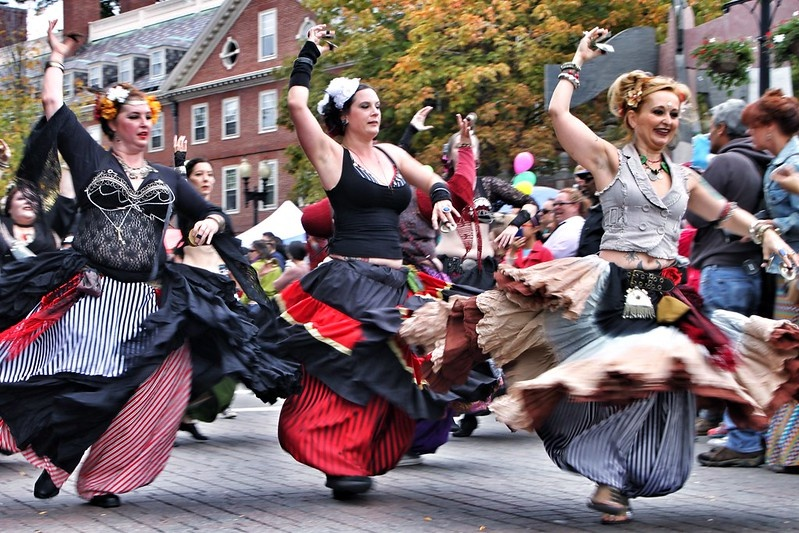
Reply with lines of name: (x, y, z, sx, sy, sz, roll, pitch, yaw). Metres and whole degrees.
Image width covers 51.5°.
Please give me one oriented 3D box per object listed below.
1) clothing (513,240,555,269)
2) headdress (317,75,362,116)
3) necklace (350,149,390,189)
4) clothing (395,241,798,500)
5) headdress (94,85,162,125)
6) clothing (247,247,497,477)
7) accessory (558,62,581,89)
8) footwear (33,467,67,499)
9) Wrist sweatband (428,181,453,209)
clothing: (1.200, -0.101, 7.546, 0.170, 0.231, 0.316, 38, -30, -25)
headdress: (-0.382, -1.205, 5.790, 0.156, 0.275, 0.287, 35, -13, 3)
necklace: (-0.233, -0.657, 5.608, 0.341, 0.098, 0.053, 44, -8, -11)
clothing: (1.077, 0.603, 5.168, 2.194, 0.827, 2.061, 7, 4, 35)
headdress: (-1.914, -1.134, 5.761, 0.468, 0.158, 0.369, -1, 2, 19)
clothing: (-0.279, 0.708, 6.224, 2.472, 1.309, 1.734, 3, -3, 6)
accessory: (1.021, -1.156, 5.064, 0.214, 0.125, 0.185, 0, 1, 4)
footwear: (-2.254, 1.412, 5.325, 0.155, 0.197, 0.058, 4, 9, 17)
Wrist sweatband: (0.225, -0.494, 5.718, 0.243, 0.134, 0.174, -8, 16, 1)
